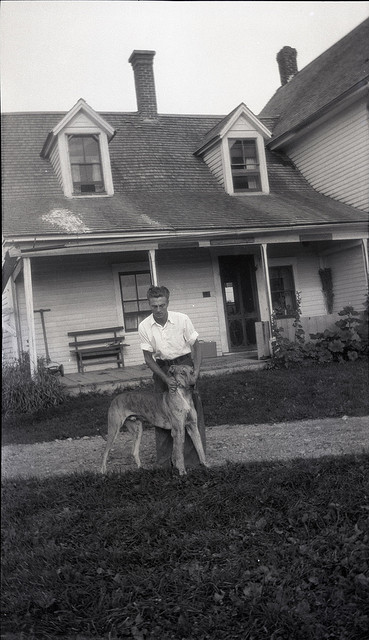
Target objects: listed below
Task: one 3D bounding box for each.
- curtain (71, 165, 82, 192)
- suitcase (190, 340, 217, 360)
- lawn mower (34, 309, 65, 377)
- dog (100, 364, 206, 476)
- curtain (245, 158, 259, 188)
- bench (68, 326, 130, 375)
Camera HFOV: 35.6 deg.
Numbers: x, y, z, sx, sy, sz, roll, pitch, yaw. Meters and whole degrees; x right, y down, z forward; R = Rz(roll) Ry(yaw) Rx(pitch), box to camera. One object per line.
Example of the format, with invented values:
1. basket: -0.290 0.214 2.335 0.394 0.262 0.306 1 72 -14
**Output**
1. curtain: -2.554 -3.372 13.608 0.242 0.553 0.112 -4 2 -21
2. suitcase: 0.542 0.664 13.366 0.377 0.312 0.704 -4 2 1
3. lawn mower: -3.016 0.512 12.241 0.491 1.361 0.375 2 -22 -43
4. dog: -0.220 0.731 4.695 1.168 0.872 0.397 -5 -1 44
5. curtain: 1.782 -3.915 15.206 0.323 0.536 0.227 -3 2 8
6. bench: -1.880 0.662 12.650 1.270 1.031 0.464 -5 0 -23
